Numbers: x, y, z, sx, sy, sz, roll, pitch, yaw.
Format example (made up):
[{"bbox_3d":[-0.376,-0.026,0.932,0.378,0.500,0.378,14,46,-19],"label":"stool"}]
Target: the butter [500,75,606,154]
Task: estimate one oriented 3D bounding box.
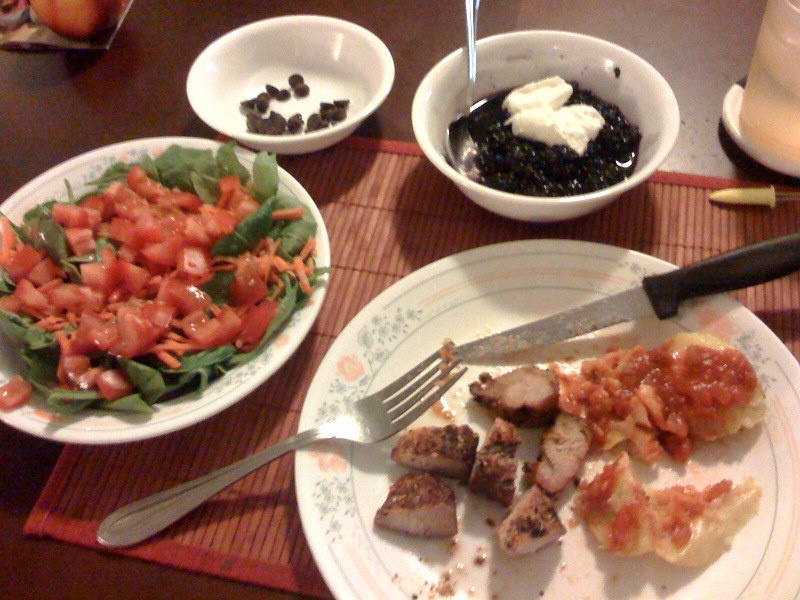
[{"bbox_3d":[0.666,-0.809,3.058,0.357,0.084,0.385,-28,67,-7],"label":"butter"}]
